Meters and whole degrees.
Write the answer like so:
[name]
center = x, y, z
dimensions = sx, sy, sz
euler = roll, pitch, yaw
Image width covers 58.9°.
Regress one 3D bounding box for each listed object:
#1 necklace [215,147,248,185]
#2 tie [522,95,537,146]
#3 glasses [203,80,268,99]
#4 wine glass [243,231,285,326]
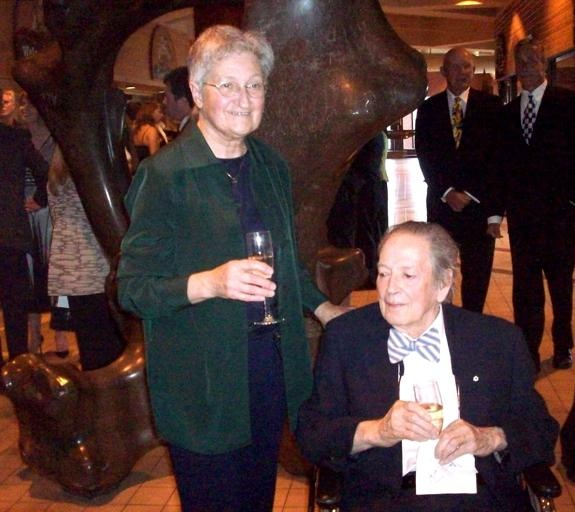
[necklace]
center = -0.157, -0.257, 1.464
dimensions = 0.085, 0.083, 0.020
euler = -24, 6, -34
[tie]
center = 1.575, -0.893, 3.335
dimensions = 0.086, 0.323, 0.094
euler = 1, 11, 24
[glasses]
center = -0.139, -0.441, 1.353
dimensions = 0.156, 0.047, 0.054
euler = -5, 10, -8
[wine glass]
center = -0.063, 0.055, 1.388
dimensions = 0.095, 0.263, 0.084
euler = -3, 10, 4
